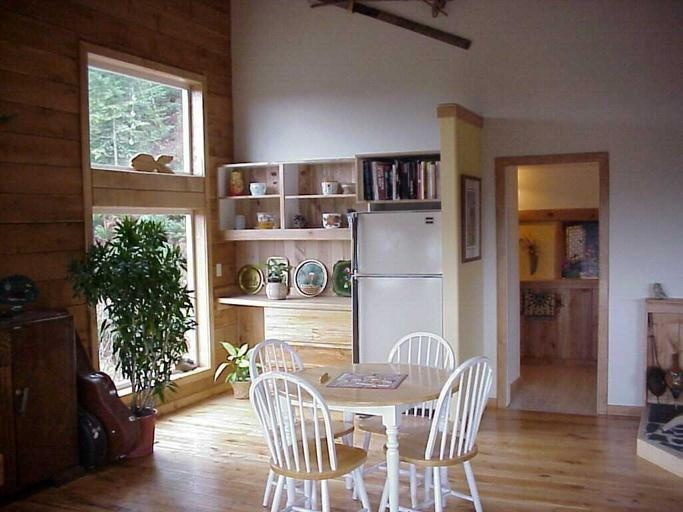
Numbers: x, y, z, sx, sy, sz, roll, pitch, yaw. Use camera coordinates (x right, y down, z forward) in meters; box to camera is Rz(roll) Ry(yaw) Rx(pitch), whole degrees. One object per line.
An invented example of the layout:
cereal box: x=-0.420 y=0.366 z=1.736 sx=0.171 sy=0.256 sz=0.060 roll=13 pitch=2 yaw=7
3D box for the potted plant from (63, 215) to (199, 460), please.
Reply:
potted plant: x=-1.739 y=0.628 z=4.478 sx=0.927 sy=1.983 sz=1.022 roll=-1 pitch=2 yaw=-16

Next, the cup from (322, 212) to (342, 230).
cup: x=-0.105 y=-0.380 z=5.616 sx=0.174 sy=0.130 sz=0.175 roll=0 pitch=-4 yaw=0

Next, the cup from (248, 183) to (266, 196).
cup: x=-0.929 y=-0.736 z=5.794 sx=0.166 sy=0.119 sz=0.164 roll=0 pitch=-1 yaw=0

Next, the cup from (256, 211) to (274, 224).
cup: x=-0.852 y=-0.427 z=5.852 sx=0.149 sy=0.098 sz=0.147 roll=-1 pitch=-1 yaw=0

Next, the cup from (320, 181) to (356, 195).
cup: x=-0.031 y=-0.723 z=5.520 sx=0.194 sy=0.091 sz=0.260 roll=0 pitch=-1 yaw=5

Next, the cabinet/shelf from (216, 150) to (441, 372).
cabinet/shelf: x=-0.090 y=0.033 z=5.278 sx=2.573 sy=2.407 sz=0.770 roll=0 pitch=2 yaw=17

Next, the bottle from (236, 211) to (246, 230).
bottle: x=-1.108 y=-0.383 z=5.938 sx=0.158 sy=0.173 sz=0.155 roll=-1 pitch=4 yaw=-5

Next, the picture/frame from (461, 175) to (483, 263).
picture/frame: x=1.186 y=-0.351 z=4.802 sx=0.039 sy=0.945 sz=0.840 roll=0 pitch=3 yaw=23
